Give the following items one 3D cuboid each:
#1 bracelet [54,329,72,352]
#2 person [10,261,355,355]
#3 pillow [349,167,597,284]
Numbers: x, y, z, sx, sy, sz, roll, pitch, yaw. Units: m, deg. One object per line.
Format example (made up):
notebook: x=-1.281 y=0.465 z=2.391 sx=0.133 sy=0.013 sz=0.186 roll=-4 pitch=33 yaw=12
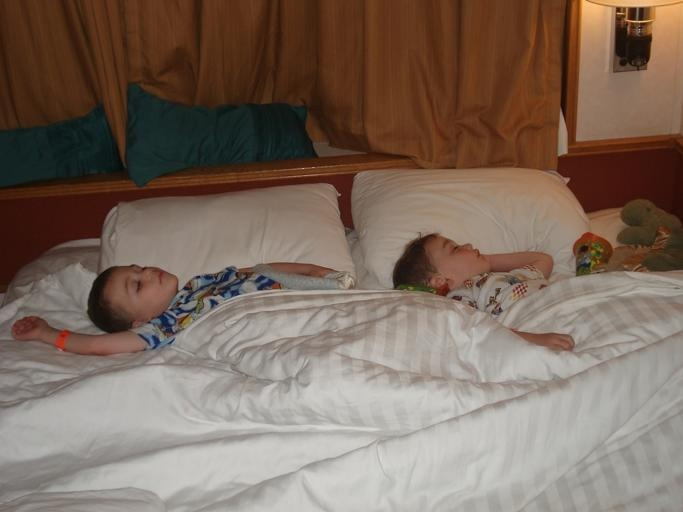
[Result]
bracelet: x=-0.846 y=0.249 z=1.683 sx=0.049 sy=0.013 sz=0.049 roll=-40 pitch=56 yaw=11
person: x=-0.583 y=0.159 z=1.774 sx=0.727 sy=0.180 sz=0.437 roll=-6 pitch=19 yaw=-1
pillow: x=0.485 y=-0.112 z=2.202 sx=0.660 sy=0.180 sz=0.522 roll=0 pitch=60 yaw=-1
